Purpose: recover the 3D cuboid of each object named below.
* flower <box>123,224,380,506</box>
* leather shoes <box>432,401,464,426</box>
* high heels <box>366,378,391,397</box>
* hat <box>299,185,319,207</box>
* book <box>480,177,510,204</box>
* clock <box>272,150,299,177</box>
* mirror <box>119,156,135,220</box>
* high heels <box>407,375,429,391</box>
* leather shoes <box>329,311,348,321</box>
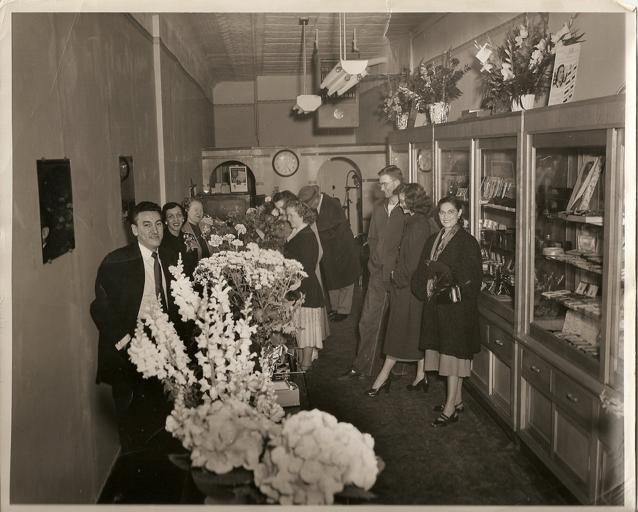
[{"bbox_3d":[-0.335,0.514,2.341,0.703,1.035,1.119,-8,13,-36],"label":"flower"},{"bbox_3d":[0.781,0.958,3.185,0.173,0.069,0.111,-5,10,-19],"label":"leather shoes"},{"bbox_3d":[0.388,0.846,3.353,0.182,0.099,0.063,-16,10,-24],"label":"high heels"},{"bbox_3d":[-0.062,-0.405,3.524,0.113,0.128,0.330,2,12,12],"label":"hat"},{"bbox_3d":[1.132,-0.425,3.354,0.023,0.158,0.178,2,-1,-38],"label":"book"},{"bbox_3d":[-0.250,-0.716,4.066,0.207,0.227,0.387,-2,11,-5],"label":"clock"},{"bbox_3d":[-1.092,-0.404,2.997,0.006,0.204,0.161,-6,0,-39],"label":"mirror"},{"bbox_3d":[0.659,0.850,3.461,0.166,0.128,0.062,1,-3,-6],"label":"high heels"},{"bbox_3d":[0.162,0.512,4.387,0.136,0.109,0.067,6,12,2],"label":"leather shoes"}]
